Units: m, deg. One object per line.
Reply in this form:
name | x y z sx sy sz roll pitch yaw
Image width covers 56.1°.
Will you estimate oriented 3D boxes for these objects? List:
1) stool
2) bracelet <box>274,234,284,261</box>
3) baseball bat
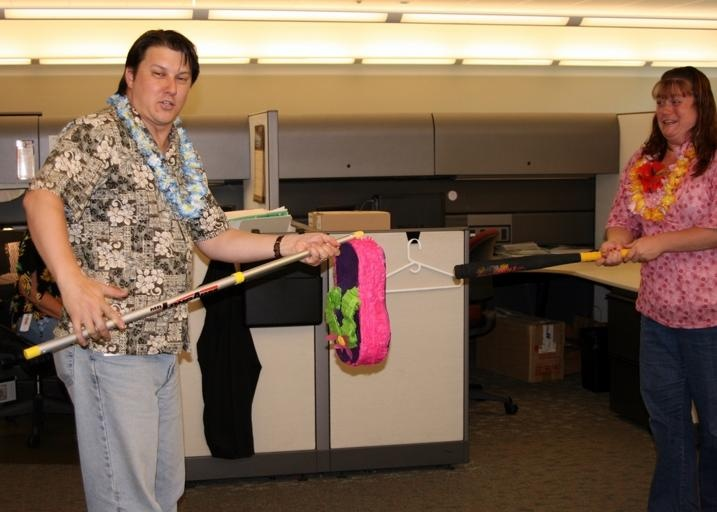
stool | 1.007 0.694 4.992 0.362 0.805 0.708 1 9 11
bracelet | -0.299 -0.033 2.570 0.025 0.067 0.052 2 18 -4
baseball bat | 1.094 0.043 3.938 1.038 0.116 0.116 -6 37 -13
